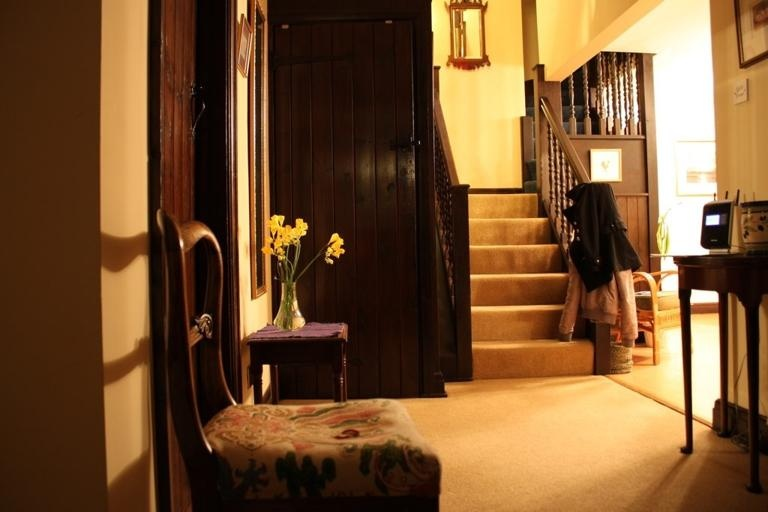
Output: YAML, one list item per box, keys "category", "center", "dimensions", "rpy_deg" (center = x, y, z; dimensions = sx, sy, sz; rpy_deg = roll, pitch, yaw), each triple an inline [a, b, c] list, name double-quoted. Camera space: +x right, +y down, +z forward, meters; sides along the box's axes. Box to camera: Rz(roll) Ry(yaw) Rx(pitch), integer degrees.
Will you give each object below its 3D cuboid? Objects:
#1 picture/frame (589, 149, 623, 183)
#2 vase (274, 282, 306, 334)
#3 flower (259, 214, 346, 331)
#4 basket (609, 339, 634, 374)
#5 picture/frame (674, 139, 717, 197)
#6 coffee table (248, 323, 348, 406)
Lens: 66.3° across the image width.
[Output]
- category: "picture/frame"
  center: [2.804, -1.160, 7.458]
  dimensions: [0.506, 0.621, 0.044]
  rpy_deg: [-3, 6, -10]
- category: "vase"
  center: [-0.604, 0.325, 3.738]
  dimensions: [0.182, 0.326, 0.208]
  rpy_deg: [2, 1, 30]
- category: "flower"
  center: [-0.569, 0.128, 3.776]
  dimensions: [0.471, 0.734, 0.541]
  rpy_deg: [-1, -7, 21]
- category: "basket"
  center: [2.068, 0.857, 5.146]
  dimensions: [0.240, 0.289, 0.245]
  rpy_deg: [0, 2, 32]
- category: "picture/frame"
  center: [4.110, -1.142, 7.749]
  dimensions: [0.555, 0.730, 0.150]
  rpy_deg: [-1, 5, -8]
- category: "coffee table"
  center: [-0.519, 0.560, 3.623]
  dimensions: [0.449, 0.514, 0.505]
  rpy_deg: [-1, 5, -2]
